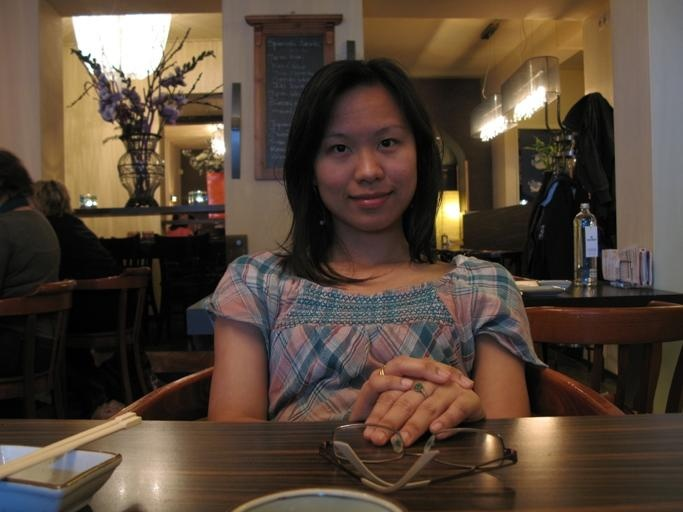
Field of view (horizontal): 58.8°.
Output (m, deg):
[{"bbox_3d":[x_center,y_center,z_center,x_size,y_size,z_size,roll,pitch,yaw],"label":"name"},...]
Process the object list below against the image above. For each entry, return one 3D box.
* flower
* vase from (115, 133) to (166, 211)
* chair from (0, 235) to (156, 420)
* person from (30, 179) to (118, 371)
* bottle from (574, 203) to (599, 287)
[{"bbox_3d":[-1.322,-0.878,4.080,0.617,1.010,0.951,10,14,12],"label":"flower"},{"bbox_3d":[-1.324,-0.553,4.034,0.289,0.509,0.428,-5,15,-20],"label":"vase"},{"bbox_3d":[-1.358,0.421,3.747,0.936,1.248,0.864,-3,-10,20],"label":"chair"},{"bbox_3d":[-1.629,0.105,3.911,0.417,1.247,0.332,-12,4,-43],"label":"person"},{"bbox_3d":[1.196,-0.053,2.969,0.133,0.411,0.297,6,15,21],"label":"bottle"}]
